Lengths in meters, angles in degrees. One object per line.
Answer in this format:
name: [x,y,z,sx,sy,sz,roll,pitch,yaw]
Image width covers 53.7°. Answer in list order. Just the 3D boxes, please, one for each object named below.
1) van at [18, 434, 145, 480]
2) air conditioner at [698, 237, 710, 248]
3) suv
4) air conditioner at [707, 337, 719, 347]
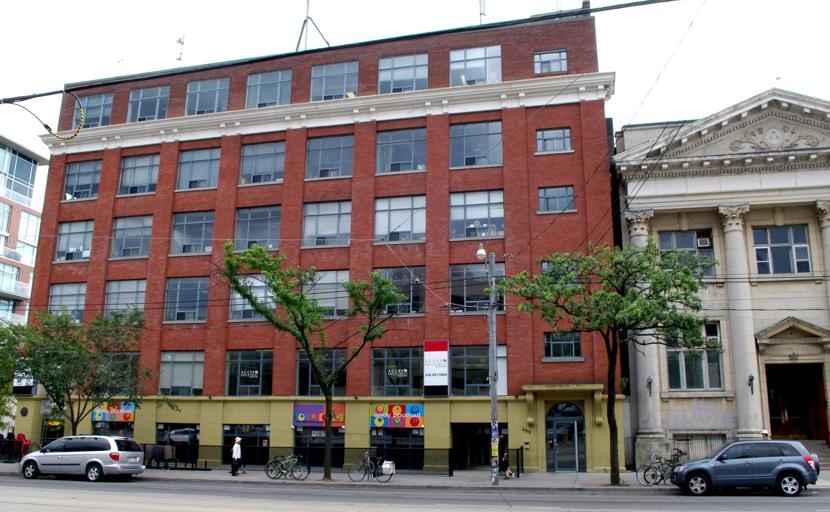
van: [-19.375,11.878,48.235,6.536,1.973,2.858,1,-20,9]
air conditioner: [19.194,-0.880,54.102,0.838,0.647,0.386,0,-14,7]
suv: [17.446,11.254,43.531,7.243,2.320,2.911,-1,-20,10]
air conditioner: [17.706,5.062,48.492,0.642,0.469,0.601,12,-16,-13]
